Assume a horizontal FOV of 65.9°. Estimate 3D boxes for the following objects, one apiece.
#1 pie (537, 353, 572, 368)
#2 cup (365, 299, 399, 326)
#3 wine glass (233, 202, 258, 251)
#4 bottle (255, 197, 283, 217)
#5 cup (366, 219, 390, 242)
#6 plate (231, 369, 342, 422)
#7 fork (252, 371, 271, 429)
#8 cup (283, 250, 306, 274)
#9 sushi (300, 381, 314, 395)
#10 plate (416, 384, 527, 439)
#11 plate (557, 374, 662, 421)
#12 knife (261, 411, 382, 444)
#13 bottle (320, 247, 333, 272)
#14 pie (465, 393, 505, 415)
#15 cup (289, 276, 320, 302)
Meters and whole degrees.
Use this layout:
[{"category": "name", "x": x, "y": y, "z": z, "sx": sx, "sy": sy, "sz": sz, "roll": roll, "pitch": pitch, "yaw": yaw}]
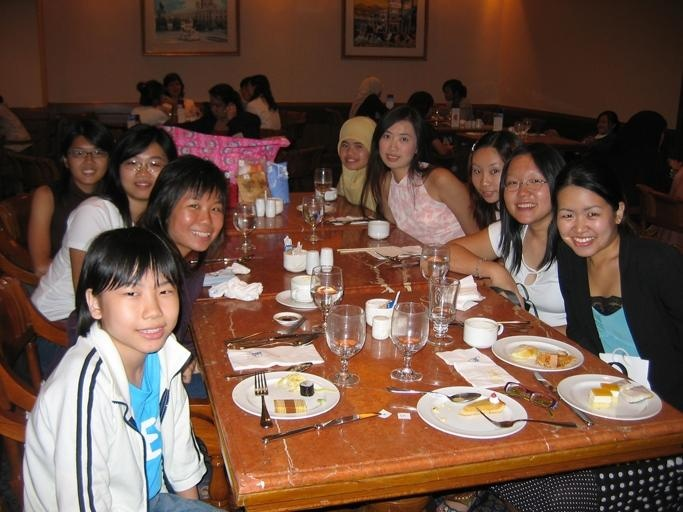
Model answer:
[{"category": "pie", "x": 0.661, "y": 0.315, "z": 1.625, "sx": 0.072, "sy": 0.020, "sz": 0.053, "roll": -7, "pitch": 25, "yaw": -1}, {"category": "cup", "x": 0.132, "y": 0.185, "z": 1.835, "sx": 0.085, "sy": 0.063, "sz": 0.086, "roll": 1, "pitch": 15, "yaw": 0}, {"category": "wine glass", "x": -0.494, "y": -0.151, "z": 2.696, "sx": 0.111, "sy": 0.248, "sz": 0.111, "roll": 4, "pitch": 26, "yaw": 2}, {"category": "bottle", "x": -0.469, "y": -0.313, "z": 3.405, "sx": 0.101, "sy": 0.096, "sz": 0.171, "roll": -4, "pitch": 20, "yaw": -13}, {"category": "cup", "x": 0.199, "y": -0.139, "z": 2.872, "sx": 0.107, "sy": 0.080, "sz": 0.105, "roll": 3, "pitch": 23, "yaw": -1}, {"category": "plate", "x": -0.143, "y": 0.379, "z": 1.424, "sx": 0.150, "sy": 0.012, "sz": 0.148, "roll": -7, "pitch": 22, "yaw": -30}, {"category": "fork", "x": -0.209, "y": 0.384, "z": 1.398, "sx": 0.032, "sy": 0.020, "sz": 0.257, "roll": -4, "pitch": 19, "yaw": -12}, {"category": "cup", "x": -0.208, "y": 0.024, "z": 2.321, "sx": 0.094, "sy": 0.080, "sz": 0.095, "roll": 3, "pitch": 17, "yaw": -1}, {"category": "sushi", "x": -0.098, "y": 0.356, "z": 1.433, "sx": 0.032, "sy": 0.024, "sz": 0.031, "roll": 1, "pitch": 12, "yaw": 4}, {"category": "plate", "x": 0.315, "y": 0.408, "z": 1.376, "sx": 0.201, "sy": 0.020, "sz": 0.206, "roll": -14, "pitch": 16, "yaw": -10}, {"category": "plate", "x": 0.721, "y": 0.398, "z": 1.440, "sx": 0.144, "sy": 0.016, "sz": 0.145, "roll": 11, "pitch": 24, "yaw": 31}, {"category": "knife", "x": -0.055, "y": 0.430, "z": 1.314, "sx": 0.232, "sy": 0.018, "sz": 0.034, "roll": -5, "pitch": 17, "yaw": -12}, {"category": "bottle", "x": -0.066, "y": 0.015, "z": 2.271, "sx": 0.083, "sy": 0.124, "sz": 0.082, "roll": 0, "pitch": 5, "yaw": 0}, {"category": "pie", "x": 0.379, "y": 0.396, "z": 1.397, "sx": 0.095, "sy": 0.051, "sz": 0.046, "roll": -1, "pitch": 13, "yaw": -8}, {"category": "cup", "x": -0.151, "y": 0.121, "z": 1.966, "sx": 0.075, "sy": 0.074, "sz": 0.100, "roll": 0, "pitch": 8, "yaw": 1}]
